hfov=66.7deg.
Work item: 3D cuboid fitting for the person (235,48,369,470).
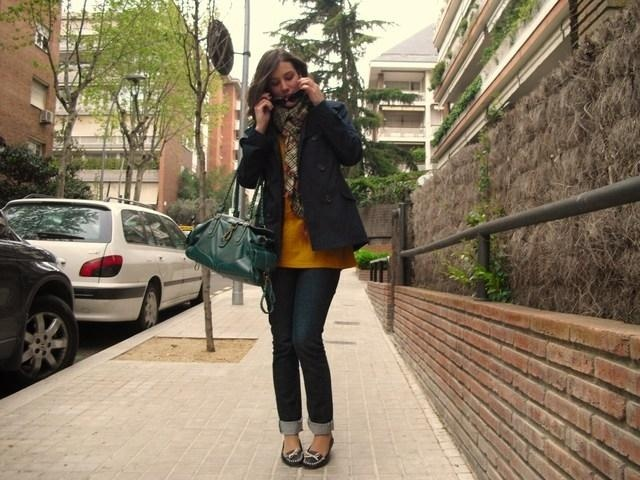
[{"bbox_3d":[-0.118,0.084,3.082,0.797,2.588,0.351,1,1,4],"label":"person"}]

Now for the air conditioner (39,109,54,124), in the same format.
[{"bbox_3d":[-14.115,-6.322,25.007,0.443,0.757,0.821,0,0,4],"label":"air conditioner"}]

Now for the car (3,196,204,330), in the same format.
[{"bbox_3d":[-2.901,0.257,7.795,1.642,1.426,4.064,1,1,7],"label":"car"}]

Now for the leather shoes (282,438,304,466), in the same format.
[{"bbox_3d":[-0.172,1.306,2.998,0.145,0.144,0.132,1,1,1],"label":"leather shoes"}]

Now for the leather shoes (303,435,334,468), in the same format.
[{"bbox_3d":[0.006,1.308,3.039,0.118,0.156,0.289,1,1,34],"label":"leather shoes"}]
